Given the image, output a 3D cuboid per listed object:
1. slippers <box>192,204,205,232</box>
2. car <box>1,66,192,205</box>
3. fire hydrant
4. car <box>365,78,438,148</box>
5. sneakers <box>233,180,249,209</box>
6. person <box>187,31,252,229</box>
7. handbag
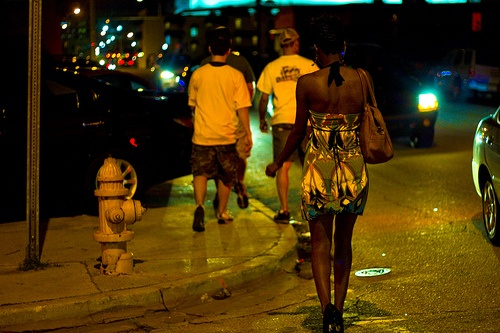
[{"bbox_3d":[-0.717,0.710,8.215,0.153,0.368,0.154,3,1,-4],"label":"slippers"},{"bbox_3d":[-2.222,-0.523,9.152,2.801,1.340,1.413,-4,5,-14],"label":"car"},{"bbox_3d":[-1.553,0.555,6.762,0.577,1.272,0.473,9,14,36],"label":"fire hydrant"},{"bbox_3d":[3.705,-1.368,14.842,1.515,1.362,2.587,-1,5,2],"label":"car"},{"bbox_3d":[-0.125,0.415,8.624,0.157,0.433,0.178,-17,3,-7],"label":"sneakers"},{"bbox_3d":[-0.417,-0.523,8.279,0.864,2.785,0.682,-1,12,-8],"label":"person"},{"bbox_3d":[1.118,-0.451,5.298,0.350,0.835,0.308,3,12,10],"label":"handbag"}]
